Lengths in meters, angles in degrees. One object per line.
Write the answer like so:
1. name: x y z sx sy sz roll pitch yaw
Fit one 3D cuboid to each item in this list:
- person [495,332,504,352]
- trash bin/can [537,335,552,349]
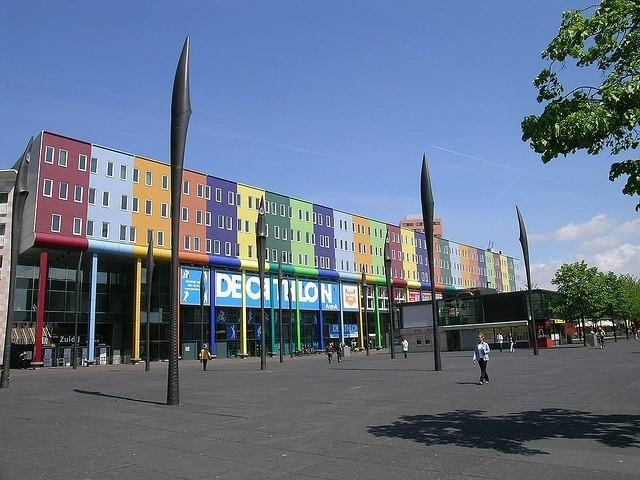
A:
1. person: 21.458 11.990 60.238 0.801 1.842 0.776 -9 -15 20
2. trash bin/can: 26.510 11.968 59.458 1.248 0.897 1.404 -3 -8 13
